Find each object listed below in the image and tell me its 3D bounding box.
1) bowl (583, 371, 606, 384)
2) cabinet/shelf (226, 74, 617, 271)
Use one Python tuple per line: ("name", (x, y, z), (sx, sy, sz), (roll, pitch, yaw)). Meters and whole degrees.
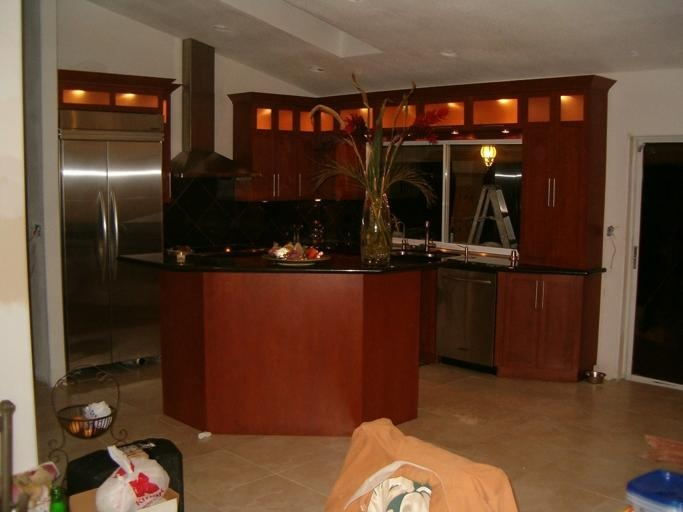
("bowl", (2.584, 1.254, 5.928), (0.182, 0.114, 0.105), (3, 9, 15))
("cabinet/shelf", (0.254, -0.892, 6.133), (4.274, 1.933, 2.957), (7, 11, 36))
